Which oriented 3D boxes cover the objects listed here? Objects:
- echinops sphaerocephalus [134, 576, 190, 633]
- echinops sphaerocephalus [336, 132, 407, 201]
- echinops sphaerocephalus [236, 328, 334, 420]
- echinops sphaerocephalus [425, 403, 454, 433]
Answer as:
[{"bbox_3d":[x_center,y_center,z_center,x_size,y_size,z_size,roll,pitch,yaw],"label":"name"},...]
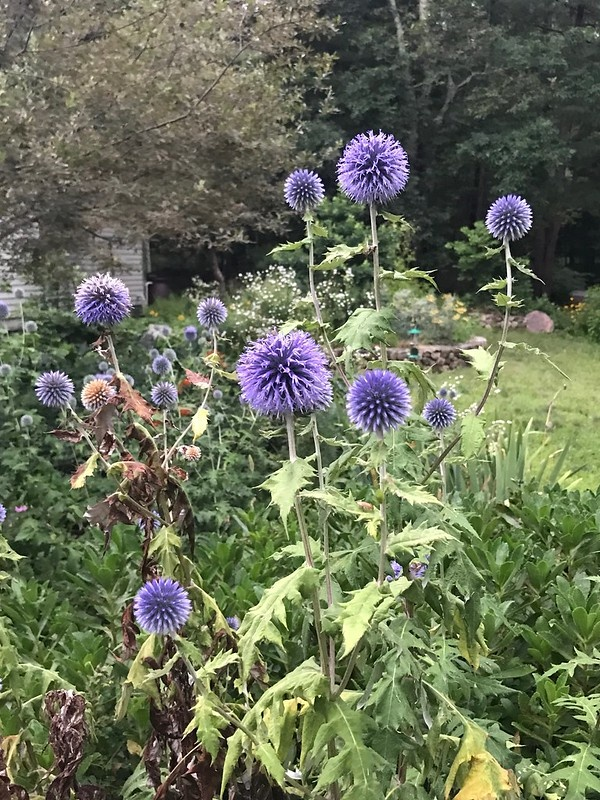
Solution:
[{"bbox_3d":[-0.334,0.505,1.952,0.104,0.057,0.109,5,-10,-37],"label":"echinops sphaerocephalus"},{"bbox_3d":[0.195,-0.678,2.354,0.154,0.151,0.139,-13,-5,7],"label":"echinops sphaerocephalus"},{"bbox_3d":[-0.040,-0.047,1.878,0.218,0.211,0.252,1,14,0],"label":"echinops sphaerocephalus"},{"bbox_3d":[0.511,0.068,2.974,0.082,0.079,0.078,-17,29,-15],"label":"echinops sphaerocephalus"}]
